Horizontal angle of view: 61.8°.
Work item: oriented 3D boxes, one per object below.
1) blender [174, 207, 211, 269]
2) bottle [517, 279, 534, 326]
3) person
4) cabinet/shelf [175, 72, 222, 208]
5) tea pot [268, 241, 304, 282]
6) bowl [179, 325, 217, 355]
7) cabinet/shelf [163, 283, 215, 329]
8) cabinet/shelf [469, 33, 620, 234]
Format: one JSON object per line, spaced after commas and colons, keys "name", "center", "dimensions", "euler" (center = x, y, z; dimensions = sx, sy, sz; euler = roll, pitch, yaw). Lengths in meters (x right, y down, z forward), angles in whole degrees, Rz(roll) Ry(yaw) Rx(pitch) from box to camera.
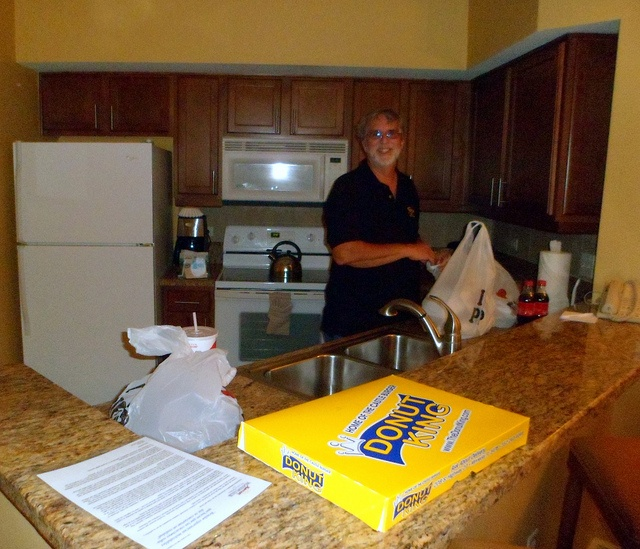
{"name": "blender", "center": [-0.873, -0.237, 3.470], "dimensions": [0.254, 0.402, 0.175], "euler": [4, 11, 9]}
{"name": "bottle", "center": [0.762, 0.101, 1.969], "dimensions": [0.058, 0.167, 0.133], "euler": [6, 11, 18]}
{"name": "person", "center": [0.246, -0.190, 2.245], "dimensions": [0.467, 1.000, 0.434], "euler": [3, 11, -1]}
{"name": "cabinet/shelf", "center": [-0.768, -0.848, 3.382], "dimensions": [0.289, 0.790, 0.100], "euler": [1, 3, 1]}
{"name": "tea pot", "center": [-0.218, -0.092, 3.363], "dimensions": [0.242, 0.265, 0.235], "euler": [2, 6, 0]}
{"name": "bowl", "center": [-0.234, 0.123, 1.036], "dimensions": [0.064, 0.044, 0.119], "euler": [1, 11, -12]}
{"name": "cabinet/shelf", "center": [-0.799, 0.167, 3.266], "dimensions": [0.263, 0.402, 0.254], "euler": [0, 2, -9]}
{"name": "cabinet/shelf", "center": [1.124, -0.675, 2.835], "dimensions": [0.382, 0.813, 1.284], "euler": [0, 7, -1]}
